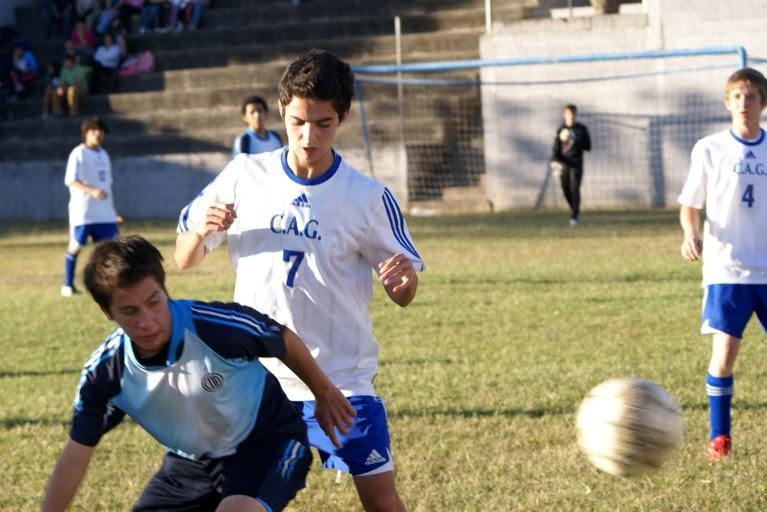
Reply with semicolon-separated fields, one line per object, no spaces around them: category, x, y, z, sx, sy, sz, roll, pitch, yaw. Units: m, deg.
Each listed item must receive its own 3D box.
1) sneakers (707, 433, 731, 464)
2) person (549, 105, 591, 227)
sneakers;3.367;1.965;12.538;0.249;0.203;0.209;-5;-6;12
person;2.305;-1.108;15.371;0.429;1.450;0.800;0;10;14
